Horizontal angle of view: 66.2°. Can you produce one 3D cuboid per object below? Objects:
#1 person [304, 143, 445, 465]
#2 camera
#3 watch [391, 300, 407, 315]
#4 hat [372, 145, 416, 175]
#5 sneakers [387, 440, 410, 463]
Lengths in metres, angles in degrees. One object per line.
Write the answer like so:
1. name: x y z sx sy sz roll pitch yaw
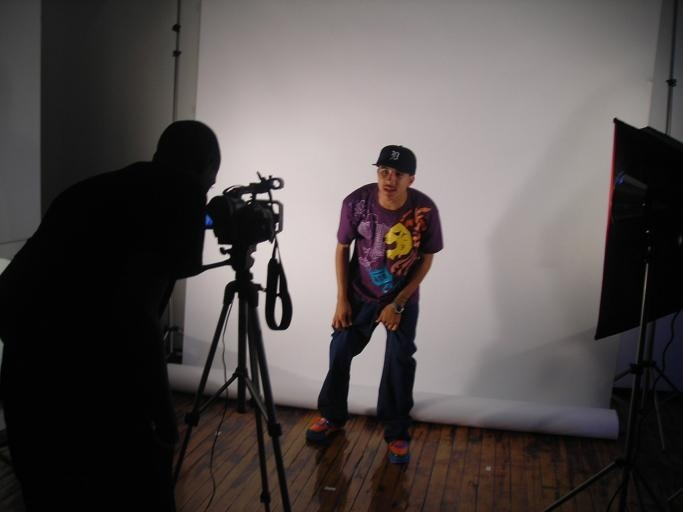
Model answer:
1. person: 0.229 0.270 3.269 0.650 1.929 0.546 6 14 6
2. camera: -0.420 -0.175 2.350 0.315 0.383 0.365 -2 -10 -11
3. watch: 0.346 0.312 3.124 0.054 0.079 0.041 2 0 4
4. hat: 0.327 -0.571 3.140 0.262 0.171 0.129 3 13 7
5. sneakers: 0.337 1.126 3.042 0.132 0.070 0.192 3 14 4
